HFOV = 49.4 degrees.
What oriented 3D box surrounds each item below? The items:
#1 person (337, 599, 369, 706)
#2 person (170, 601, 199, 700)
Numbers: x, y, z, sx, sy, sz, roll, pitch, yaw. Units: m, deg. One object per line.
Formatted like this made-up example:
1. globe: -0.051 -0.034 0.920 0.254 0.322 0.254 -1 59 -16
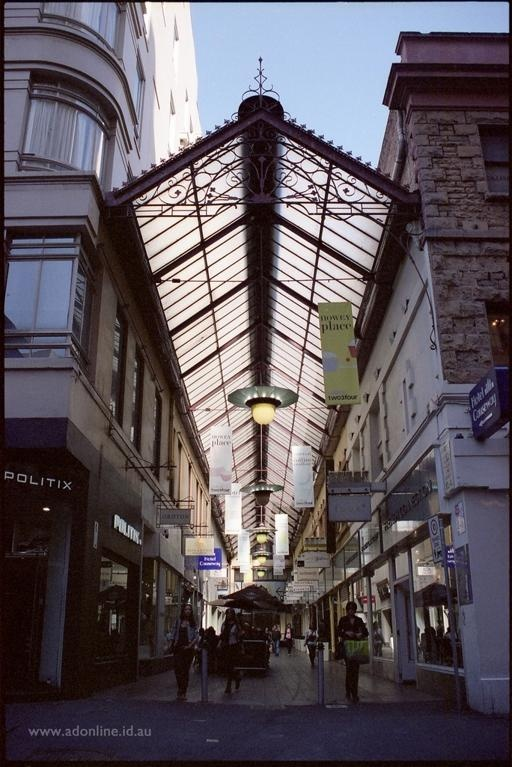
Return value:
1. person: 1.666 4.550 9.421 0.396 1.659 0.415 0 5 -1
2. person: -1.274 4.639 9.727 0.332 1.586 0.479 2 -10 4
